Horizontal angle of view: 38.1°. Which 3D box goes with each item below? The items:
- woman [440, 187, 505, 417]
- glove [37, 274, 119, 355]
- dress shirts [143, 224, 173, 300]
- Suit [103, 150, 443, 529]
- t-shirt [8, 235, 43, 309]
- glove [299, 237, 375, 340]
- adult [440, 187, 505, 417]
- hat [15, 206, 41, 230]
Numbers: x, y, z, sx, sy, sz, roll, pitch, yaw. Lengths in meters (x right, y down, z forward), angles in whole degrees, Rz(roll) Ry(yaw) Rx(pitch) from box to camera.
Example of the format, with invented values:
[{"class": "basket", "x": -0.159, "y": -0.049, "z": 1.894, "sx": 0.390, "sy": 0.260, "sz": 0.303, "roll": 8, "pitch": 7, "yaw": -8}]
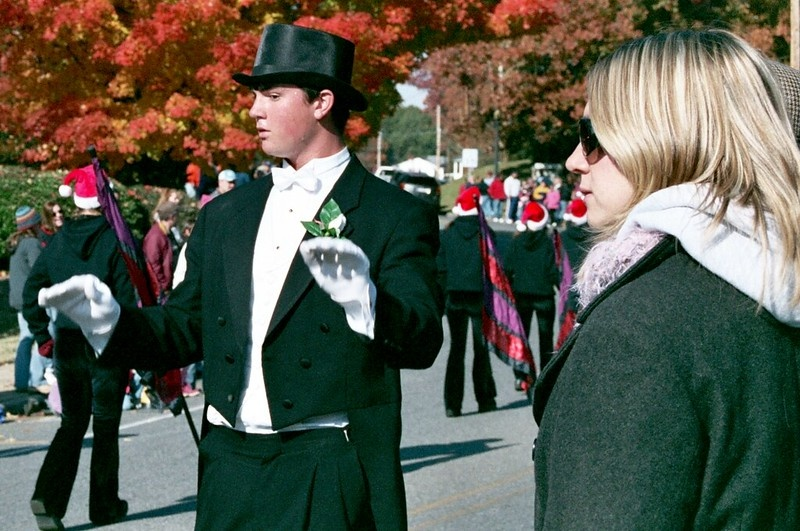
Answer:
[{"class": "woman", "x": 0.672, "y": 0.317, "z": 11.826, "sx": 0.572, "sy": 2.335, "sz": 1.155, "roll": -4, "pitch": -3, "yaw": 4}, {"class": "glove", "x": -1.441, "y": 0.226, "z": 5.238, "sx": 0.262, "sy": 0.360, "sz": 0.342, "roll": -4, "pitch": -3, "yaw": 10}, {"class": "dress shirts", "x": -2.358, "y": -0.028, "z": 11.244, "sx": 0.281, "sy": 0.674, "sz": 0.715, "roll": -5, "pitch": -3, "yaw": -8}, {"class": "Suit", "x": -0.848, "y": 0.427, "z": 6.156, "sx": 1.740, "sy": 2.419, "sz": 1.603, "roll": -3, "pitch": -8, "yaw": 25}, {"class": "t-shirt", "x": -3.629, "y": 0.036, "z": 11.203, "sx": 0.409, "sy": 0.732, "sz": 0.756, "roll": 5, "pitch": -1, "yaw": -17}, {"class": "glove", "x": -0.229, "y": 0.103, "z": 5.064, "sx": 0.183, "sy": 0.452, "sz": 0.419, "roll": -6, "pitch": -3, "yaw": 35}, {"class": "adult", "x": 0.672, "y": 0.317, "z": 11.826, "sx": 0.572, "sy": 2.335, "sz": 1.155, "roll": -4, "pitch": -3, "yaw": 4}, {"class": "hat", "x": -4.078, "y": -0.523, "z": 12.691, "sx": 0.221, "sy": 0.164, "sz": 0.287, "roll": -17, "pitch": 17, "yaw": 5}]
